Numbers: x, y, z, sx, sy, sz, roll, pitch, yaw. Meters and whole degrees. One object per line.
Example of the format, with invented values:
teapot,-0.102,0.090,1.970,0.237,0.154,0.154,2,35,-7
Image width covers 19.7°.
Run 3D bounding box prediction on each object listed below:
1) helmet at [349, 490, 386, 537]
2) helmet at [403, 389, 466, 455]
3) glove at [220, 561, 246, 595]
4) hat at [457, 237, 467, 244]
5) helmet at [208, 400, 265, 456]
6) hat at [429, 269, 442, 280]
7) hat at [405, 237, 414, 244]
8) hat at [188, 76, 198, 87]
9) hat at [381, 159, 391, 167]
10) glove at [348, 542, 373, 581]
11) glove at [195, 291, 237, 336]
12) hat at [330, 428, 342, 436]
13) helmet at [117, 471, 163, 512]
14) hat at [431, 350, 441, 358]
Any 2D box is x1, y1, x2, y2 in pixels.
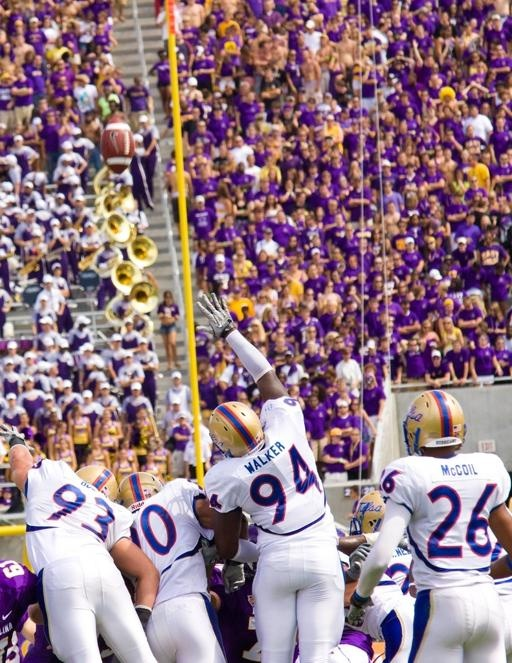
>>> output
helmet,0.638,1.064,8.464,0.187,0.289,0.472,-1,3,3
helmet,0.917,0.473,7.580,0.230,0.326,0.343,3,16,-3
glove,-0.124,1.302,7.785,0.110,0.191,0.121,-1,3,-4
hat,2.129,-0.914,15.164,0.056,0.098,0.089,-5,15,-1
helmet,-0.097,0.506,7.723,0.221,0.250,0.284,-40,53,-15
hat,1.823,-0.556,14.946,0.125,0.107,0.298,-1,3,6
hat,1.611,-0.937,15.410,0.077,0.070,0.140,2,-7,1
hat,-0.694,-2.719,16.113,0.085,0.108,0.129,-8,-1,-9
hat,1.445,-1.842,16.280,0.060,0.100,0.088,-4,-1,-8
glove,0.543,1.224,7.823,0.057,0.131,0.174,27,48,5
glove,-0.243,-0.082,8.211,0.198,0.253,0.329,-2,3,-16
hat,0.727,0.916,13.216,0.122,0.069,0.059,-3,4,-33
helmet,-0.650,0.933,8.210,0.158,0.227,0.197,1,40,-30
hat,1.715,0.227,13.983,0.072,0.068,0.131,-2,-4,6
